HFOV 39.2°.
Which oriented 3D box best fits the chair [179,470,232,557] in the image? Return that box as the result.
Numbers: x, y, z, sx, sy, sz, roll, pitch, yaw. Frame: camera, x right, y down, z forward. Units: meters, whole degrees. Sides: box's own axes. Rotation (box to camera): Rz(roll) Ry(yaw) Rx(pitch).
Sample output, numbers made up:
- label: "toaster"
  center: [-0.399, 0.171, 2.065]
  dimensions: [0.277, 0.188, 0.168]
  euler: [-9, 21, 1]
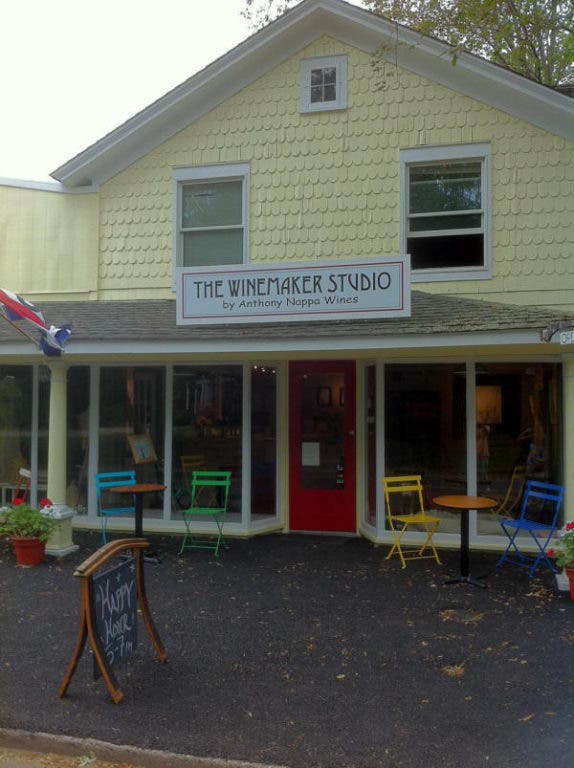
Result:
- label: "chair"
  center: [-0.997, 1.577, 9.890]
  dimensions: [0.628, 0.955, 0.718]
  euler: [2, -2, -13]

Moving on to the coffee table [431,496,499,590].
- label: "coffee table"
  center: [1.807, 1.612, 8.198]
  dimensions: [0.668, 0.823, 0.671]
  euler: [11, -5, -28]

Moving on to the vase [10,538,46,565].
- label: "vase"
  center: [-2.842, 1.827, 8.785]
  dimensions: [0.311, 0.246, 0.321]
  euler: [-1, -8, 5]

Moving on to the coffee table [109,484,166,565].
- label: "coffee table"
  center: [-1.710, 1.589, 9.055]
  dimensions: [0.735, 0.818, 0.727]
  euler: [-4, -2, 34]

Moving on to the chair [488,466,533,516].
- label: "chair"
  center: [2.628, 1.257, 9.368]
  dimensions: [0.495, 0.783, 0.396]
  euler: [2, -1, -5]

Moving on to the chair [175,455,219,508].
- label: "chair"
  center: [-1.328, 1.332, 10.800]
  dimensions: [0.657, 0.865, 0.617]
  euler: [1, -8, -10]
